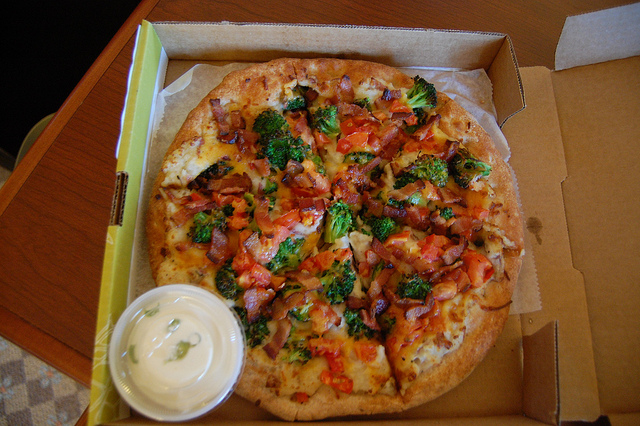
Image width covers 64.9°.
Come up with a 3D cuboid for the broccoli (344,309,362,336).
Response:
[{"bbox_3d":[0.269,0.894,4.118,0.167,0.062,0.171,26,74,-5],"label":"broccoli"}]

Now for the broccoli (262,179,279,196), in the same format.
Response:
[{"bbox_3d":[-0.421,-0.209,4.258,0.118,0.040,0.123,0,74,-10],"label":"broccoli"}]

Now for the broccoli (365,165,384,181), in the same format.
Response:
[{"bbox_3d":[0.476,-0.353,4.351,0.105,0.045,0.139,4,59,2],"label":"broccoli"}]

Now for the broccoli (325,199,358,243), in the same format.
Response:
[{"bbox_3d":[0.159,0.054,4.347,0.292,0.178,0.324,42,99,-4],"label":"broccoli"}]

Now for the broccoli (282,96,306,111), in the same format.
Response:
[{"bbox_3d":[-0.235,-0.979,4.496,0.195,0.053,0.102,-21,102,-14],"label":"broccoli"}]

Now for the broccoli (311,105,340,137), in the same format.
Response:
[{"bbox_3d":[0.055,-0.798,4.404,0.226,0.084,0.246,-17,87,1],"label":"broccoli"}]

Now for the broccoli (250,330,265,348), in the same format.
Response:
[{"bbox_3d":[-0.508,1.011,4.050,0.125,0.039,0.131,-32,100,-5],"label":"broccoli"}]

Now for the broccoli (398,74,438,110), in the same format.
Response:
[{"bbox_3d":[0.858,-1.061,4.495,0.322,0.365,0.215,2,64,-10],"label":"broccoli"}]

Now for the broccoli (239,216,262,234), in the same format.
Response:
[{"bbox_3d":[-0.547,0.136,4.063,0.129,0.078,0.149,-38,82,-6],"label":"broccoli"}]

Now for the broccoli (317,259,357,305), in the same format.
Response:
[{"bbox_3d":[0.134,0.573,4.127,0.260,0.155,0.340,-5,71,3],"label":"broccoli"}]

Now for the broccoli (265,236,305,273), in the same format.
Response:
[{"bbox_3d":[-0.292,0.301,4.157,0.088,0.278,0.282,35,101,46],"label":"broccoli"}]

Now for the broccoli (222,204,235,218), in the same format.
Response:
[{"bbox_3d":[-0.766,-0.017,4.158,0.091,0.049,0.095,0,74,8],"label":"broccoli"}]

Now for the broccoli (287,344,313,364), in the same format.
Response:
[{"bbox_3d":[-0.169,1.142,4.116,0.152,0.070,0.159,-6,107,1],"label":"broccoli"}]

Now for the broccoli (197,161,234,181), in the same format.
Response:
[{"bbox_3d":[-0.908,-0.346,4.297,0.252,0.053,0.158,-31,82,-5],"label":"broccoli"}]

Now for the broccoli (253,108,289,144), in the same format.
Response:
[{"bbox_3d":[-0.415,-0.762,4.236,0.276,0.075,0.284,4,78,1],"label":"broccoli"}]

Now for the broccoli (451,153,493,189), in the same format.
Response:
[{"bbox_3d":[1.267,-0.377,4.214,0.291,0.163,0.282,-7,85,20],"label":"broccoli"}]

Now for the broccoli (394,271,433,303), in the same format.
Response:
[{"bbox_3d":[0.772,0.621,4.132,0.260,0.096,0.217,16,93,3],"label":"broccoli"}]

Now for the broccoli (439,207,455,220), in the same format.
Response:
[{"bbox_3d":[1.077,0.002,4.273,0.093,0.038,0.093,-19,71,-7],"label":"broccoli"}]

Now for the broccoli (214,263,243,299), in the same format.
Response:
[{"bbox_3d":[-0.749,0.551,4.011,0.189,0.081,0.269,-12,77,0],"label":"broccoli"}]

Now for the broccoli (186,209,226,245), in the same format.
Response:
[{"bbox_3d":[-0.942,0.108,4.136,0.262,0.109,0.276,4,78,8],"label":"broccoli"}]

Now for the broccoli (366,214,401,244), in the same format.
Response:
[{"bbox_3d":[0.521,0.119,4.204,0.220,0.131,0.219,-16,78,13],"label":"broccoli"}]

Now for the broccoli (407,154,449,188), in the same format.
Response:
[{"bbox_3d":[0.921,-0.287,4.283,0.283,0.262,0.132,16,106,28],"label":"broccoli"}]

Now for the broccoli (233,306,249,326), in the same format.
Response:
[{"bbox_3d":[-0.616,0.805,3.905,0.120,0.037,0.159,0,75,-9],"label":"broccoli"}]

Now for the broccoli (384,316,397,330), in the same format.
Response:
[{"bbox_3d":[0.580,0.893,4.135,0.095,0.039,0.095,2,100,1],"label":"broccoli"}]

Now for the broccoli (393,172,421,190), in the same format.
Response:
[{"bbox_3d":[0.726,-0.274,4.278,0.180,0.135,0.087,-48,119,-28],"label":"broccoli"}]

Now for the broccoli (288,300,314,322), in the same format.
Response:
[{"bbox_3d":[-0.143,0.795,4.037,0.171,0.045,0.170,30,93,-17],"label":"broccoli"}]

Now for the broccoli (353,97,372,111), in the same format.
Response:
[{"bbox_3d":[0.388,-0.991,4.485,0.115,0.048,0.135,5,56,-6],"label":"broccoli"}]

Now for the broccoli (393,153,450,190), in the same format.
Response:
[{"bbox_3d":[0.814,-0.417,4.157,0.406,0.602,0.245,12,93,17],"label":"broccoli"}]
